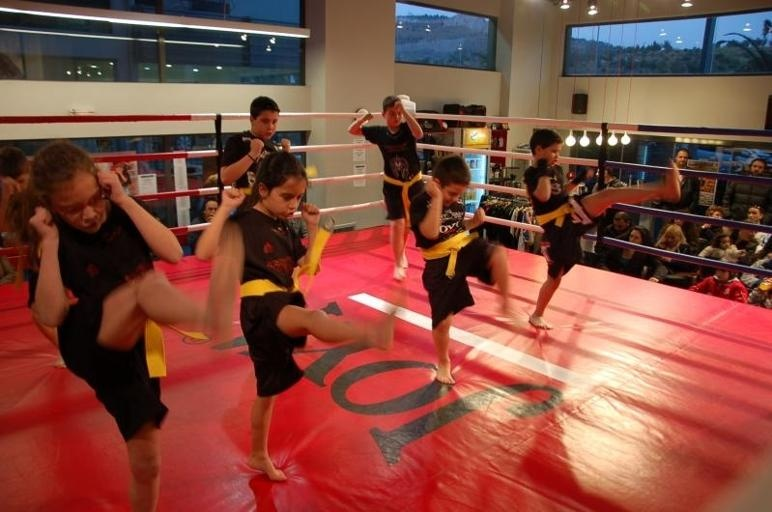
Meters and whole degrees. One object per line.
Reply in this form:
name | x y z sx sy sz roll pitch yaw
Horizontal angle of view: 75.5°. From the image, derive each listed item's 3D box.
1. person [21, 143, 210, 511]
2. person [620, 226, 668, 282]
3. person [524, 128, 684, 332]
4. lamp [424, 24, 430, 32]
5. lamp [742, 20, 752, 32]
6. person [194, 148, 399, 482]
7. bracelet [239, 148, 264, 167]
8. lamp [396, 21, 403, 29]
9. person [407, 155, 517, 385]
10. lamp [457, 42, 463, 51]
person | -1.202 0.336 2.292 0.811 1.670 0.472 9 19 24
person | 2.908 -0.005 5.675 0.304 0.835 0.534 23 -19 -31
person | 1.578 -0.192 4.008 0.989 1.589 0.418 5 18 13
lamp | 0.828 -4.648 10.141 0.121 0.132 0.123 4 19 13
lamp | 6.693 -4.277 9.275 0.132 0.147 0.139 2 2 21
person | -0.421 0.325 2.673 0.795 1.708 0.597 -1 18 -4
bracelet | -1.130 -0.826 4.106 0.207 0.074 0.168 -2 17 33
lamp | 0.248 -4.547 9.790 0.049 0.149 0.166 17 23 41
person | 0.493 0.098 3.369 0.709 1.519 0.419 4 18 12
lamp | 1.572 -4.515 10.718 0.108 0.151 0.059 1 0 -7
